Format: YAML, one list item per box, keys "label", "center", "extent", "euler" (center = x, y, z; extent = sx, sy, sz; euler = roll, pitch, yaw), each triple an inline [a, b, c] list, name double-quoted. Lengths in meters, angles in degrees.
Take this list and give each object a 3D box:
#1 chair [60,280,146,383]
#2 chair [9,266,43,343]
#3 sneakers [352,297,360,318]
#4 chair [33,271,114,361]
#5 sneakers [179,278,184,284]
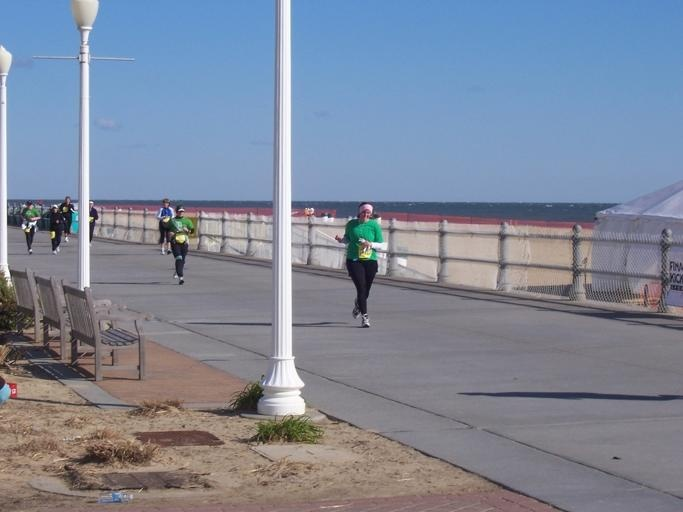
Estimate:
- label: "chair"
  center: [-3.081, 0.921, 16.284]
  extent: [0.831, 0.991, 1.915]
  euler: [1, 4, -22]
- label: "chair"
  center: [-4.544, 0.741, 18.032]
  extent: [0.439, 0.733, 1.048]
  euler: [-1, 9, -24]
- label: "sneakers"
  center: [0.240, 0.839, 20.051]
  extent: [0.132, 0.330, 0.153]
  euler: [1, 15, -2]
- label: "chair"
  center: [-3.682, 0.859, 17.183]
  extent: [0.522, 0.795, 1.204]
  euler: [-1, 6, -26]
- label: "sneakers"
  center: [-3.385, 0.545, 26.529]
  extent: [0.060, 0.097, 0.148]
  euler: [1, -18, -11]
